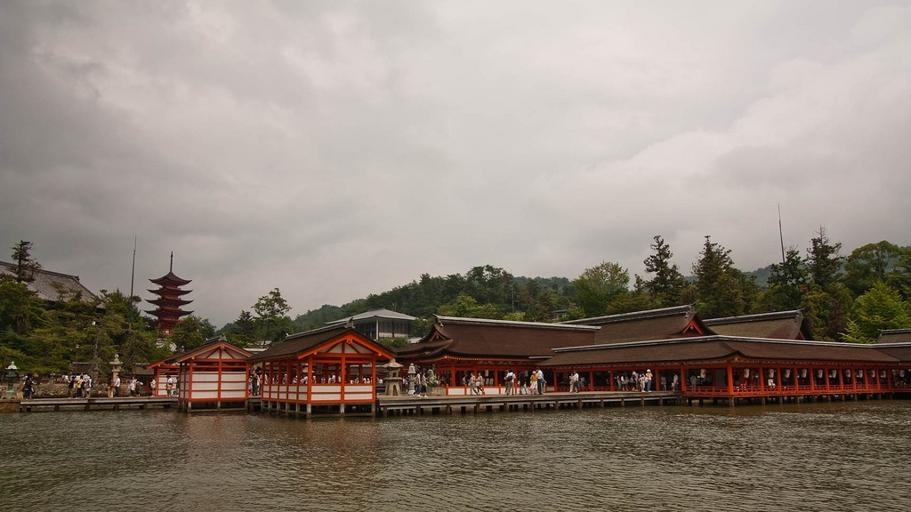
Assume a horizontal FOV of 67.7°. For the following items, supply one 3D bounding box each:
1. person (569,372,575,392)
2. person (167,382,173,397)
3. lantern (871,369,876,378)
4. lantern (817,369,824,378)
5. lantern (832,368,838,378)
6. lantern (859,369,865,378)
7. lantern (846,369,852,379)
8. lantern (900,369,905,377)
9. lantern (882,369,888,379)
[{"bbox_3d":[9.982,10.630,57.582,0.444,1.511,1.726,-5,-13,12],"label":"person"},{"bbox_3d":[-24.669,11.469,58.588,0.469,1.075,1.202,3,-14,-23],"label":"person"},{"bbox_3d":[38.756,10.943,62.899,0.534,0.697,0.181,-4,4,-36],"label":"lantern"},{"bbox_3d":[32.432,10.403,60.319,0.358,0.728,0.946,-1,-13,-6],"label":"lantern"},{"bbox_3d":[34.143,10.626,61.395,0.632,0.743,1.228,-9,-15,27],"label":"lantern"},{"bbox_3d":[36.952,10.744,62.026,0.418,0.824,1.396,-8,-14,22],"label":"lantern"},{"bbox_3d":[35.437,10.608,61.200,0.437,0.743,0.244,-2,4,44],"label":"lantern"},{"bbox_3d":[42.260,11.099,64.106,0.665,0.669,0.252,3,-14,-24],"label":"lantern"},{"bbox_3d":[40.177,11.075,63.720,0.383,0.785,1.313,-6,-14,14],"label":"lantern"}]
